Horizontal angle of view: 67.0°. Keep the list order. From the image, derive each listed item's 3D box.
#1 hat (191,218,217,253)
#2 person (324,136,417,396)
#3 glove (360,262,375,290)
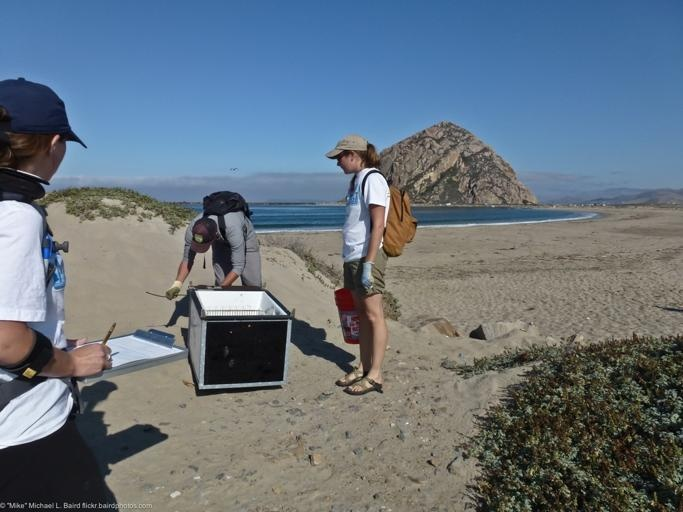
[{"bbox_3d":[-1.537,-0.237,5.755,0.279,0.387,0.223,12,-15,8],"label":"hat"},{"bbox_3d":[0.274,0.104,5.277,0.873,2.647,0.729,3,9,2],"label":"person"},{"bbox_3d":[0.240,0.175,5.072,0.128,0.218,0.166,-3,4,-6],"label":"glove"}]
